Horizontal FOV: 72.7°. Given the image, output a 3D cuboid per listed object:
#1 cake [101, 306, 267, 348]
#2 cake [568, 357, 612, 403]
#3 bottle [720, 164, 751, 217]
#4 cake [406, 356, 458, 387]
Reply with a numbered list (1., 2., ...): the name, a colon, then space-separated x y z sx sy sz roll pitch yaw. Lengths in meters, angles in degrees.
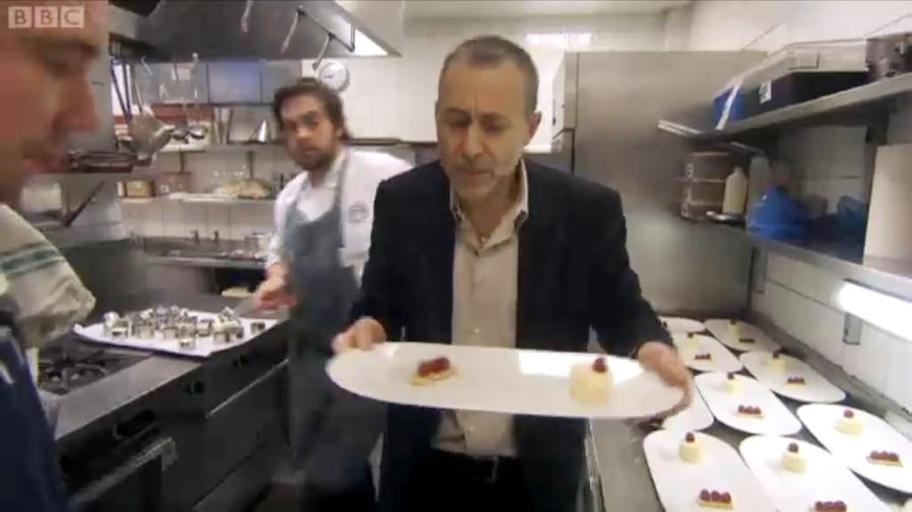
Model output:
1. cake: -1.432 0.367 3.191 0.433 0.074 0.377 1 7 -7
2. cake: 0.599 0.547 2.811 0.211 0.184 0.196 4 5 36
3. bottle: 1.517 -0.333 3.389 0.118 0.223 0.082 5 17 19
4. cake: -0.114 0.519 2.788 0.173 0.057 0.122 -9 6 4
